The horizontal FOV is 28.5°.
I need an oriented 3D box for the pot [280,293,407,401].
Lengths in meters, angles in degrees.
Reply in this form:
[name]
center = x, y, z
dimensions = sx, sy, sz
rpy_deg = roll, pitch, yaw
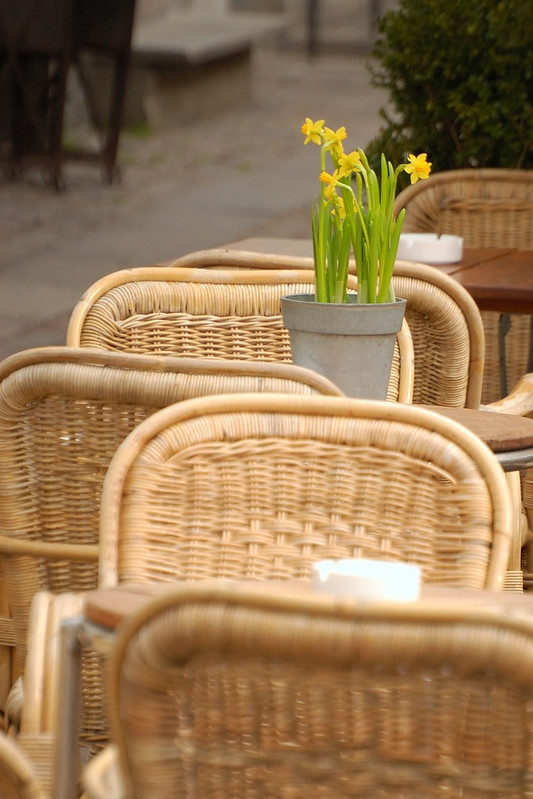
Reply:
[pot]
center = 0.102, -0.069, 1.376
dimensions = 0.173, 0.111, 0.148
rpy_deg = 2, 3, -5

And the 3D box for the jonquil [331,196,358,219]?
[jonquil]
center = 0.096, -0.249, 1.372
dimensions = 0.039, 0.013, 0.035
rpy_deg = -2, 2, 8

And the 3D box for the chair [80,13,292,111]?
[chair]
center = -0.276, -1.095, 3.387
dimensions = 0.331, 0.201, 0.713
rpy_deg = 6, 11, 28

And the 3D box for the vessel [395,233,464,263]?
[vessel]
center = 0.378, -0.352, 2.450
dimensions = 0.201, 0.061, 0.188
rpy_deg = -6, 14, -28
